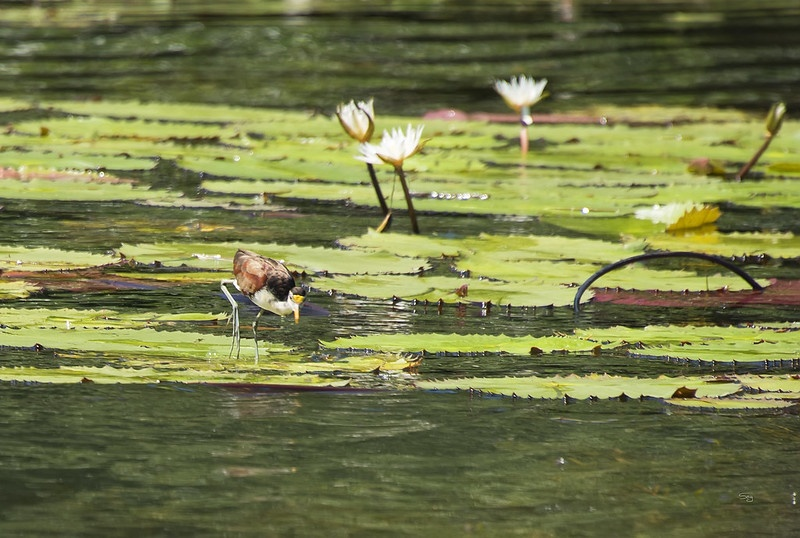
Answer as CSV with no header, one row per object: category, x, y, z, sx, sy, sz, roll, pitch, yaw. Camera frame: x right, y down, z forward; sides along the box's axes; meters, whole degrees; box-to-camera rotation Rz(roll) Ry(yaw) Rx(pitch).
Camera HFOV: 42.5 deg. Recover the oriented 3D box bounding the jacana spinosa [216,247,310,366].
jacana spinosa,-0.437,0.102,3.283,0.247,0.311,0.362,0,18,-8
